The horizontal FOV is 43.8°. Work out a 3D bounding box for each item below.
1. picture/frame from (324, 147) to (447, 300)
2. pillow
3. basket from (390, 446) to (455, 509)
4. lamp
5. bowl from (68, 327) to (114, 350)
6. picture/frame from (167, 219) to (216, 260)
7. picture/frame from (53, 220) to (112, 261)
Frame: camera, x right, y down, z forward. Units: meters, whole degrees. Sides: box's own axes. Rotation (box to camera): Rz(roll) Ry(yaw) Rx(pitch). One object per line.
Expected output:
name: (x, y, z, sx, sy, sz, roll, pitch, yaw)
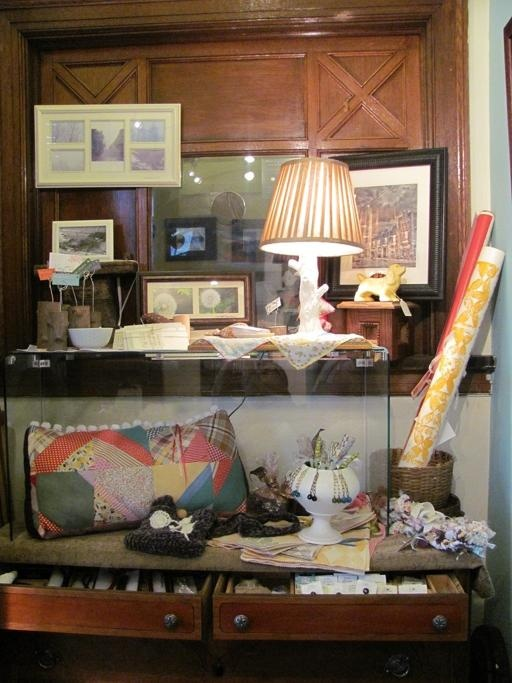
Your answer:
picture/frame: (0.452, -0.397, 2.134, 0.631, 0.571, 0.047, 0, 1, 13)
pillow: (-0.360, 0.405, 1.977, 0.658, 0.325, 0.194, -3, -13, -21)
basket: (0.508, 0.432, 2.000, 0.197, 0.121, 0.170, 2, -3, -10)
lamp: (0.160, -0.288, 1.910, 0.289, 0.528, 0.275, -3, 7, -19)
bowl: (-0.530, -0.007, 2.043, 0.133, 0.064, 0.162, -3, 6, -16)
picture/frame: (-0.224, -0.366, 2.308, 0.173, 0.124, 0.017, 1, -3, 3)
picture/frame: (-0.625, -0.362, 2.326, 0.192, 0.117, 0.007, 0, -1, 7)
